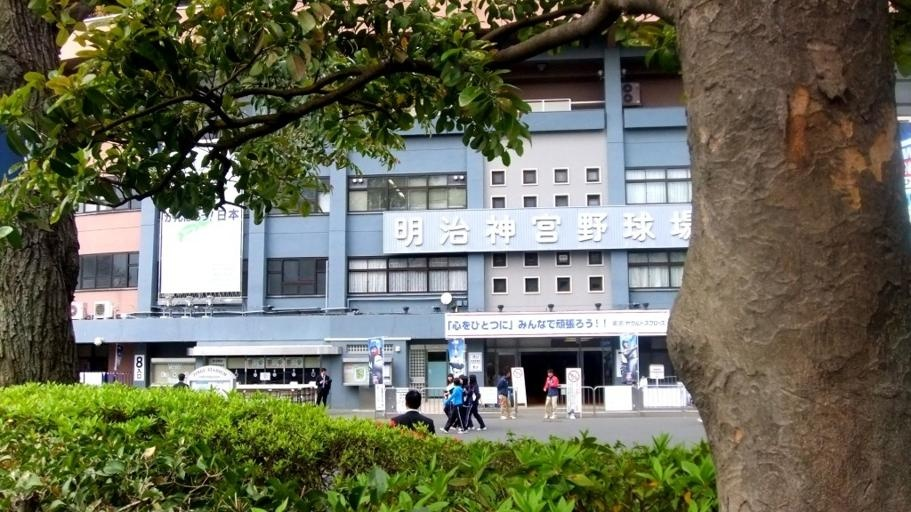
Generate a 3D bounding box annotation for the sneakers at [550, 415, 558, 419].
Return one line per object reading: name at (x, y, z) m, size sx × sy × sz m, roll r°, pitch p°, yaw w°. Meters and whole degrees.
sneakers at (2.350, 3.910, 33.848) m, size 0.121 × 0.076 × 0.119 m, roll -2°, pitch -4°, yaw 4°

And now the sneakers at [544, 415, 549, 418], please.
sneakers at (2.168, 3.893, 33.789) m, size 0.132 × 0.052 × 0.140 m, roll -1°, pitch -7°, yaw 3°

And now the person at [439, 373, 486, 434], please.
person at (0.214, 3.191, 29.930) m, size 0.885 × 1.233 × 1.474 m, roll 3°, pitch 2°, yaw 1°
